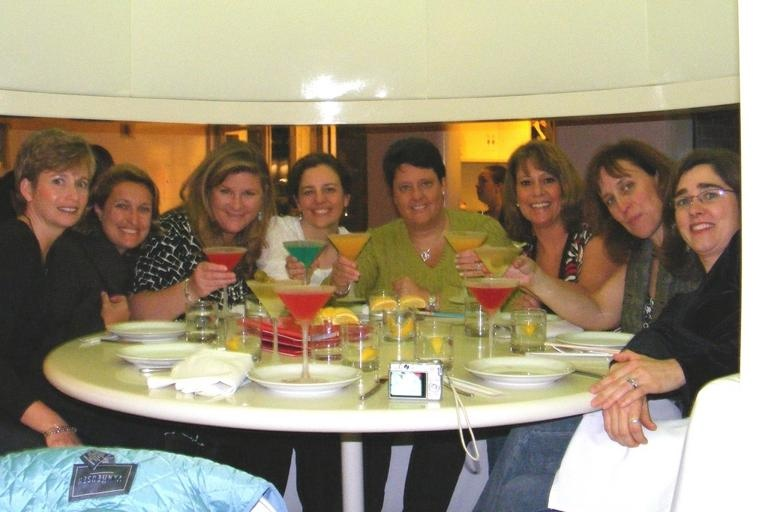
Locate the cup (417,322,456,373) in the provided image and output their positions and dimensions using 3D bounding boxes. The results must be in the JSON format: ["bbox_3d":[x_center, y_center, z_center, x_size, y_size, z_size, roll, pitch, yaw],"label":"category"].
[{"bbox_3d":[0.172,0.294,2.128,0.158,0.153,0.144,-1,1,0],"label":"cup"}]

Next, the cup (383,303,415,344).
[{"bbox_3d":[0.050,0.265,2.495,0.144,0.139,0.133,1,-2,0],"label":"cup"}]

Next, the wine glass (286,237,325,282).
[{"bbox_3d":[-0.389,0.019,3.196,0.242,0.237,0.223,0,-4,-9],"label":"wine glass"}]

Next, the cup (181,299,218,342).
[{"bbox_3d":[-0.678,0.242,2.515,0.150,0.148,0.145,1,7,0],"label":"cup"}]

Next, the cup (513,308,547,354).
[{"bbox_3d":[0.518,0.265,2.337,0.154,0.147,0.143,0,-2,0],"label":"cup"}]

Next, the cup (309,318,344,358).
[{"bbox_3d":[-0.180,0.285,2.273,0.133,0.128,0.124,0,1,0],"label":"cup"}]

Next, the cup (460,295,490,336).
[{"bbox_3d":[0.370,0.254,2.707,0.147,0.146,0.136,-1,2,0],"label":"cup"}]

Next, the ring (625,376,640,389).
[{"bbox_3d":[0.731,0.369,1.913,0.036,0.029,0.021,-5,11,-25],"label":"ring"}]

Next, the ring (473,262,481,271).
[{"bbox_3d":[0.431,0.046,3.008,0.031,0.027,0.009,2,3,37],"label":"ring"}]

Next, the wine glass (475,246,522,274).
[{"bbox_3d":[0.457,0.026,2.579,0.143,0.085,0.123,1,-3,-3],"label":"wine glass"}]

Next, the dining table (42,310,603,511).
[{"bbox_3d":[-0.273,0.601,2.106,1.785,0.570,0.684,2,9,15],"label":"dining table"}]

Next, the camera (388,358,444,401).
[{"bbox_3d":[0.090,0.354,1.863,0.195,0.117,0.104,1,3,5],"label":"camera"}]

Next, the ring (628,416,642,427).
[{"bbox_3d":[0.713,0.468,1.856,0.039,0.016,0.043,2,-1,9],"label":"ring"}]

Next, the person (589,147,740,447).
[{"bbox_3d":[1.014,0.109,2.201,0.359,0.930,1.059,5,11,29],"label":"person"}]
